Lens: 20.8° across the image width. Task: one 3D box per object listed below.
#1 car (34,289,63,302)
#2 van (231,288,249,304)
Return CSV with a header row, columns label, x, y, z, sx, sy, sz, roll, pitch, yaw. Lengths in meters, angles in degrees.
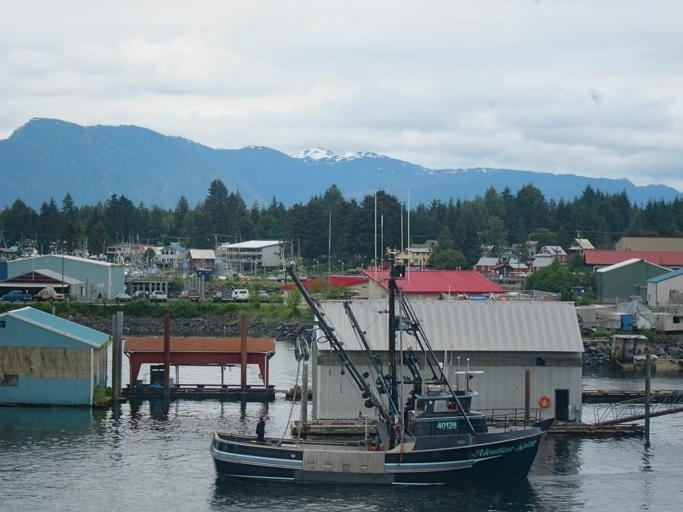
label,x,y,z,sx,sy,sz,roll,pitch,yaw
car,-33.911,4.582,217.024,2.560,1.245,1.632,3,1,-6
van,-11.823,4.803,222.714,2.275,1.235,1.316,-10,15,-37
